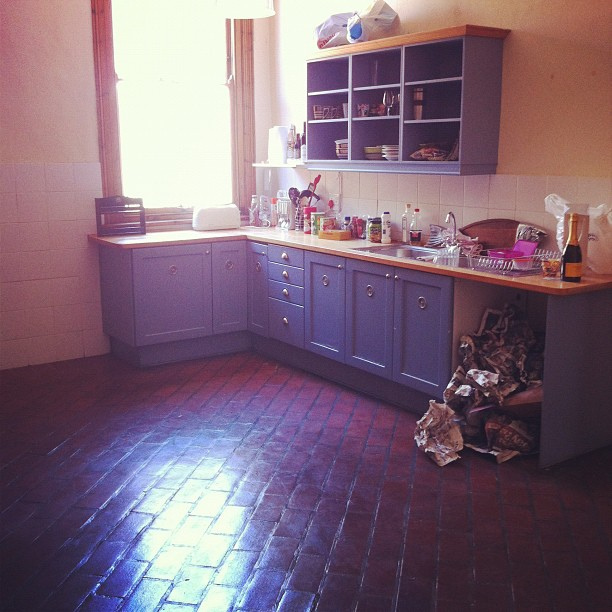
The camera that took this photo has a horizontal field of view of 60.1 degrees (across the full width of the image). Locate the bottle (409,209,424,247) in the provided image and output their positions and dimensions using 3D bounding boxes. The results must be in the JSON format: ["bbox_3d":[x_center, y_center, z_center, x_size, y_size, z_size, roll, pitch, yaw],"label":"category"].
[{"bbox_3d":[0.748,-0.539,3.560,0.094,0.247,0.201,1,9,12],"label":"bottle"}]

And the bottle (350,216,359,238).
[{"bbox_3d":[0.362,-0.601,3.968,0.066,0.151,0.037,1,9,10],"label":"bottle"}]

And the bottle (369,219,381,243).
[{"bbox_3d":[0.485,-0.538,3.716,0.080,0.150,0.048,0,9,4],"label":"bottle"}]

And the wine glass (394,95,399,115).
[{"bbox_3d":[0.585,-1.328,3.431,0.024,0.124,0.045,1,9,8],"label":"wine glass"}]

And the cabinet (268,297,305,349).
[{"bbox_3d":[-0.144,0.110,3.858,0.308,0.342,0.227,13,13,41],"label":"cabinet"}]

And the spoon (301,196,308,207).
[{"bbox_3d":[-0.005,-0.887,4.404,0.050,0.088,0.094,5,11,30],"label":"spoon"}]

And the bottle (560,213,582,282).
[{"bbox_3d":[1.203,-0.271,2.365,0.150,0.299,0.080,-8,12,-42],"label":"bottle"}]

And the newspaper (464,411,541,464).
[{"bbox_3d":[0.962,0.624,2.497,0.247,0.210,0.109,5,-8,18],"label":"newspaper"}]

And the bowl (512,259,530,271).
[{"bbox_3d":[1.073,-0.214,2.639,0.081,0.044,0.187,4,11,23],"label":"bowl"}]

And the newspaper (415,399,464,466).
[{"bbox_3d":[0.652,0.645,2.616,0.233,0.436,0.117,-7,22,10],"label":"newspaper"}]

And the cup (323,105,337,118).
[{"bbox_3d":[0.189,-1.465,3.935,0.096,0.102,0.060,5,9,28],"label":"cup"}]

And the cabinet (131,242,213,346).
[{"bbox_3d":[-0.971,-0.154,4.294,0.723,1.046,0.644,-4,7,-31],"label":"cabinet"}]

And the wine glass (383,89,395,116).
[{"bbox_3d":[0.547,-1.370,3.497,0.067,0.189,0.143,1,9,6],"label":"wine glass"}]

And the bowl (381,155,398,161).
[{"bbox_3d":[0.538,-0.986,3.477,0.058,0.042,0.190,-3,10,-14],"label":"bowl"}]

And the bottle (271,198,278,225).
[{"bbox_3d":[-0.279,-0.842,4.628,0.055,0.228,0.120,-1,9,-6],"label":"bottle"}]

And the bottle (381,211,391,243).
[{"bbox_3d":[0.566,-0.567,3.734,0.070,0.207,0.225,1,9,8],"label":"bottle"}]

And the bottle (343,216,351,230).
[{"bbox_3d":[0.309,-0.643,4.023,0.031,0.096,0.098,-3,10,-17],"label":"bottle"}]

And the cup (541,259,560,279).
[{"bbox_3d":[1.121,-0.177,2.427,0.081,0.097,0.087,-2,8,0],"label":"cup"}]

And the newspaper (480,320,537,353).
[{"bbox_3d":[1.033,0.154,2.719,0.223,0.090,0.180,-8,25,-5],"label":"newspaper"}]

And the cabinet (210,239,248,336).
[{"bbox_3d":[-0.649,-0.189,4.319,0.333,0.734,0.400,-2,7,-9],"label":"cabinet"}]

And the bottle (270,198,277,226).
[{"bbox_3d":[-0.297,-0.845,4.672,0.058,0.238,0.209,-3,10,-14],"label":"bottle"}]

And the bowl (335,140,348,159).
[{"bbox_3d":[0.249,-1.154,3.854,0.114,0.096,0.118,0,7,0],"label":"bowl"}]

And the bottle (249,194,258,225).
[{"bbox_3d":[-0.470,-0.867,4.698,0.079,0.254,0.217,-2,9,-8],"label":"bottle"}]

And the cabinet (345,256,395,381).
[{"bbox_3d":[0.375,0.120,3.360,0.335,0.653,0.405,10,-27,-10],"label":"cabinet"}]

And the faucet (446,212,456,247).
[{"bbox_3d":[0.895,-0.490,3.258,0.056,0.197,0.395,2,10,16],"label":"faucet"}]

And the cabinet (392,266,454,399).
[{"bbox_3d":[0.619,0.212,3.051,0.443,0.723,0.478,-5,-31,23],"label":"cabinet"}]

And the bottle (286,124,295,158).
[{"bbox_3d":[-0.120,-1.379,4.388,0.050,0.256,0.114,-7,11,-38],"label":"bottle"}]

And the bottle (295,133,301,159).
[{"bbox_3d":[-0.071,-1.324,4.328,0.076,0.195,0.032,8,12,44],"label":"bottle"}]

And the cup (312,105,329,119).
[{"bbox_3d":[0.108,-1.467,3.924,0.107,0.112,0.079,2,15,6],"label":"cup"}]
